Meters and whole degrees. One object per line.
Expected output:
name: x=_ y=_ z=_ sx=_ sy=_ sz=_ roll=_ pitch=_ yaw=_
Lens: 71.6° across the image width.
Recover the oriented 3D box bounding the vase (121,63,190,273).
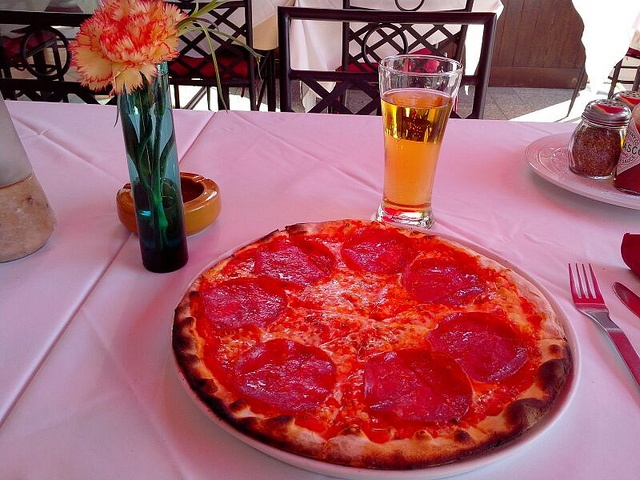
vase: x=-0.231 y=-0.092 z=0.610 sx=0.066 sy=0.266 sz=0.060 roll=-14 pitch=20 yaw=-40
